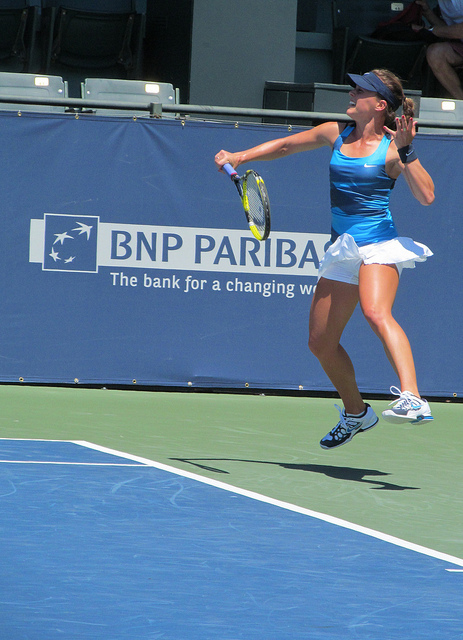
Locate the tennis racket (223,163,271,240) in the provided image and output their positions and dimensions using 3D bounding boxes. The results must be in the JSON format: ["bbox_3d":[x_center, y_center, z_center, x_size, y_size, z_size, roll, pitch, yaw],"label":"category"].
[{"bbox_3d":[0.089,-0.739,5.109,0.077,0.306,0.886,-17,21,-11],"label":"tennis racket"}]

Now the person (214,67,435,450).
[{"bbox_3d":[0.558,-0.339,3.779,1.001,1.711,1.178,0,0,-28],"label":"person"}]

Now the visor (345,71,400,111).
[{"bbox_3d":[0.686,-1.109,3.886,0.258,0.167,0.193,6,9,7],"label":"visor"}]
